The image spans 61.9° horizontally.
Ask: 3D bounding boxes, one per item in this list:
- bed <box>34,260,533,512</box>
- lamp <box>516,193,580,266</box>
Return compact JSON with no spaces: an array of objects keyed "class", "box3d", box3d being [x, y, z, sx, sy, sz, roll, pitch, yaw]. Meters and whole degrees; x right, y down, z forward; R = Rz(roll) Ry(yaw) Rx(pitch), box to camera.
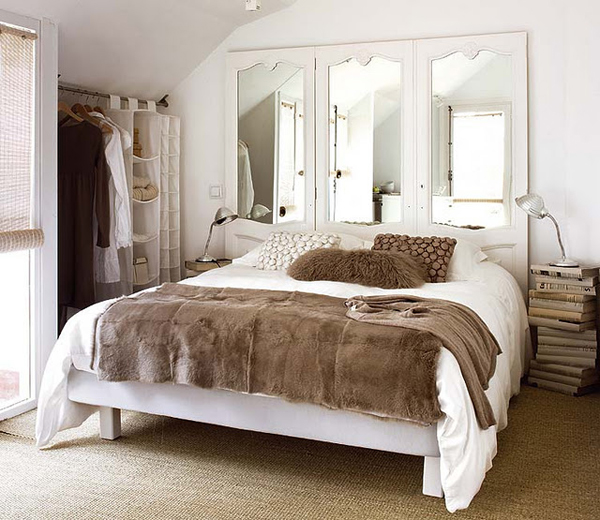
[{"class":"bed","box3d":[0.092,0.486,2.910,2.110,0.768,2.181,3,6,27]},{"class":"lamp","box3d":[1.727,-0.212,3.463,0.384,0.468,0.479,3,6,28]}]
